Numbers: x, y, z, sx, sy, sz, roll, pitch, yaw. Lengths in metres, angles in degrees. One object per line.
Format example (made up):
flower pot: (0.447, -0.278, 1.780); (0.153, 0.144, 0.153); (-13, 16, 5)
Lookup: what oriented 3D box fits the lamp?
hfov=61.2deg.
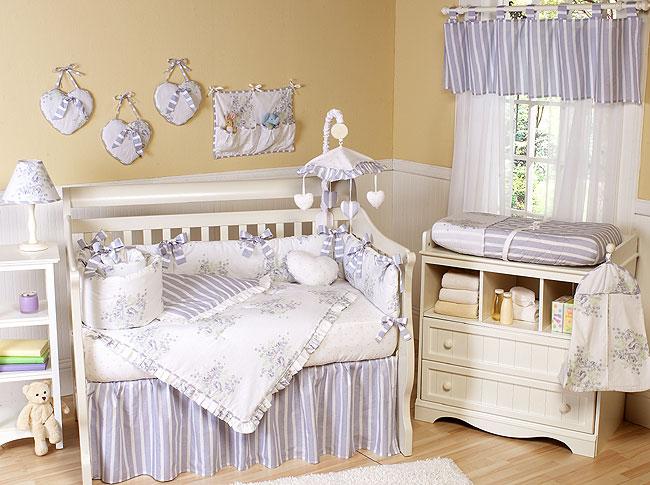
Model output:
lamp: (-1.537, -0.198, 2.893); (0.247, 0.458, 0.385); (-7, 8, -29)

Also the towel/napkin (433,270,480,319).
towel/napkin: (0.722, 0.280, 3.014); (0.247, 0.184, 0.216); (2, 4, 25)

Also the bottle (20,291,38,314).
bottle: (-1.503, 0.297, 2.798); (0.090, 0.108, 0.096); (1, 9, -2)

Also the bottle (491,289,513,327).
bottle: (0.958, 0.339, 2.970); (0.108, 0.172, 0.120); (0, 8, 19)

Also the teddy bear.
teddy bear: (-1.402, 0.845, 2.764); (0.235, 0.298, 0.235); (-10, 32, -37)
